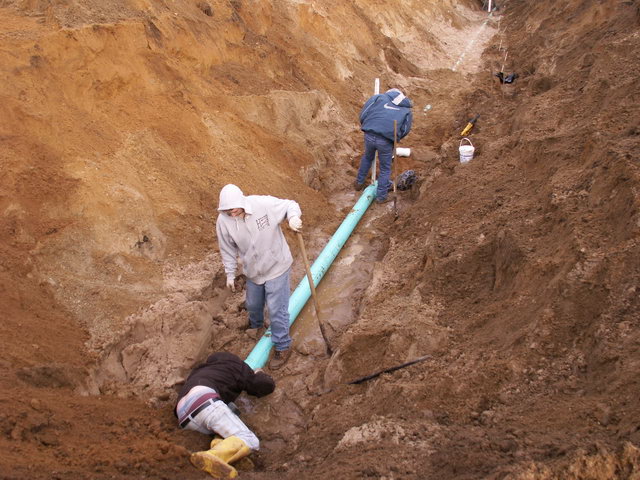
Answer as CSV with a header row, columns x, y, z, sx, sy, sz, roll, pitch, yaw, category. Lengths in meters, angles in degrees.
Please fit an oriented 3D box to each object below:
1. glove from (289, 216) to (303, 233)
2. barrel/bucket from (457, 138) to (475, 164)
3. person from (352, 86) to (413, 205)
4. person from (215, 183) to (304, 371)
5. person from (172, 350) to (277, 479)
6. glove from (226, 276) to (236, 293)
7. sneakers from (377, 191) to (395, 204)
x,y,z,sx,sy,sz,roll,pitch,yaw,category
-0.319,-0.208,11.171,0.122,0.163,0.190,-17,38,-19,glove
2.286,-1.399,14.074,0.325,0.500,0.304,-3,25,2,barrel/bucket
0.953,-1.447,14.013,0.858,1.629,0.615,5,35,11,person
-0.729,0.444,11.508,1.049,2.380,0.753,-8,35,-7,person
-1.212,2.083,10.890,0.941,0.770,1.371,20,13,23,person
-1.188,0.566,11.785,0.144,0.334,0.206,-4,77,1,glove
1.054,-0.733,14.370,0.120,0.154,0.334,27,43,36,sneakers
